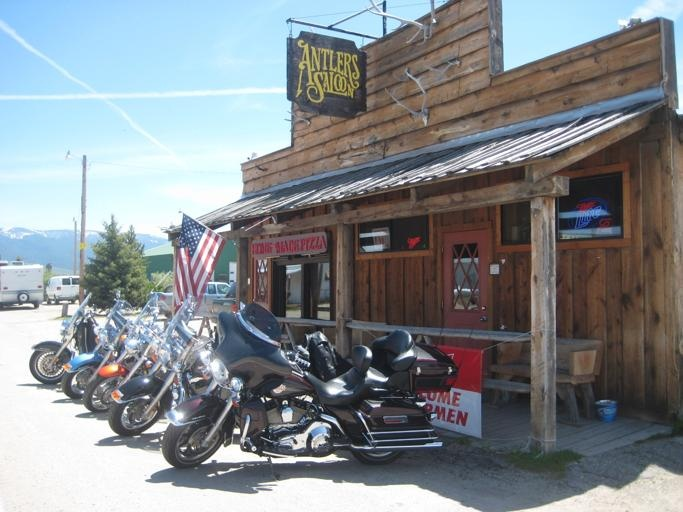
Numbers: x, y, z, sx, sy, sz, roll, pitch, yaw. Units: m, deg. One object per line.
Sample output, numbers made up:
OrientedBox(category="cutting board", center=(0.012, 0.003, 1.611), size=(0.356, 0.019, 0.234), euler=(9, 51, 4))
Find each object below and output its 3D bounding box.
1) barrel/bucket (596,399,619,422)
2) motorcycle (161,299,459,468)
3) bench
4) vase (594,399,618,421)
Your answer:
OrientedBox(category="barrel/bucket", center=(3.669, 2.134, 8.768), size=(0.243, 0.224, 0.266), euler=(0, -10, 0))
OrientedBox(category="motorcycle", center=(-0.344, 1.501, 7.981), size=(3.304, 2.101, 1.601), euler=(1, 1, -4))
OrientedBox(category="bench", center=(3.002, 1.722, 9.367), size=(0.643, 1.027, 1.530), euler=(5, -5, -29))
OrientedBox(category="vase", center=(3.672, 2.128, 8.783), size=(0.234, 0.225, 0.268), euler=(0, -10, 2))
